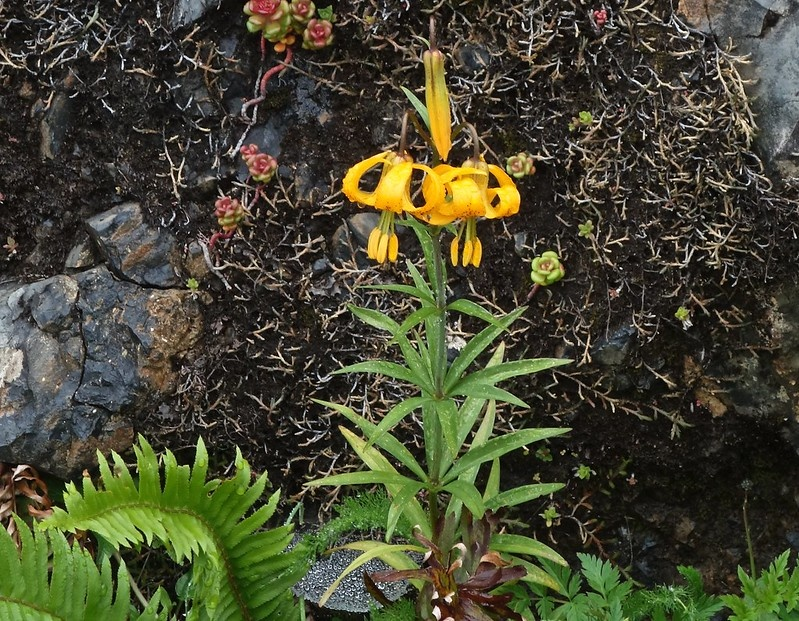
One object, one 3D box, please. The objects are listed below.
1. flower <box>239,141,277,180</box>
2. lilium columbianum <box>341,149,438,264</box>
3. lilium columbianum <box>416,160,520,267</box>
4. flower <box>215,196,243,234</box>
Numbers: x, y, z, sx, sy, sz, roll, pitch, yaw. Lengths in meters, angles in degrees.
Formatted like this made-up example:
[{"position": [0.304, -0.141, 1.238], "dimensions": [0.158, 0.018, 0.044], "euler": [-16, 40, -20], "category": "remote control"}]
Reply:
[{"position": [-0.789, -0.815, 5.332], "dimensions": [0.241, 0.219, 0.132], "euler": [8, 98, 3], "category": "flower"}, {"position": [-0.041, -0.430, 4.177], "dimensions": [0.387, 0.365, 0.484], "euler": [12, 96, 5], "category": "lilium columbianum"}, {"position": [0.320, -0.418, 4.257], "dimensions": [0.395, 0.462, 0.487], "euler": [5, 111, 12], "category": "lilium columbianum"}, {"position": [-0.944, -0.531, 5.355], "dimensions": [0.153, 0.180, 0.178], "euler": [-16, 67, 7], "category": "flower"}]
